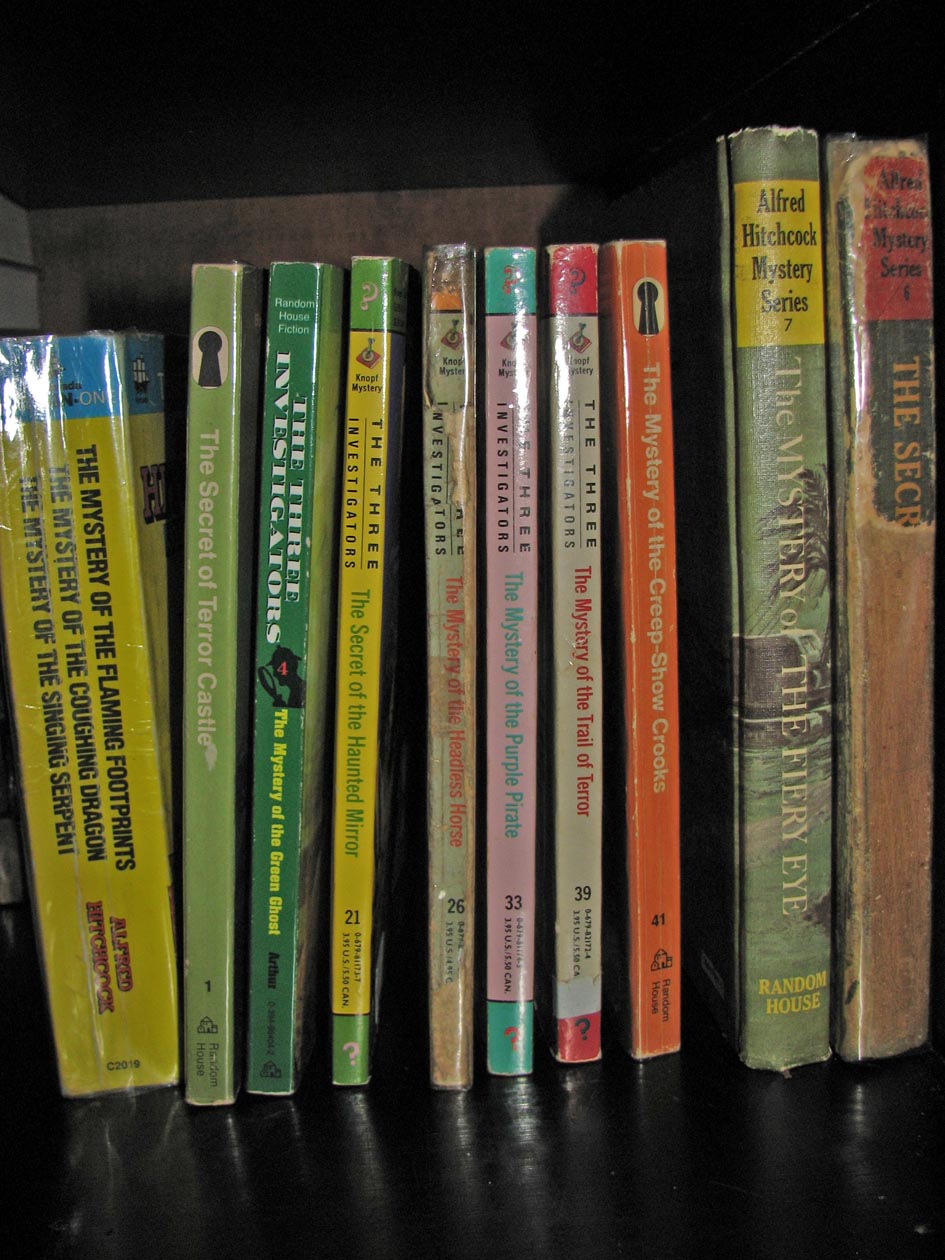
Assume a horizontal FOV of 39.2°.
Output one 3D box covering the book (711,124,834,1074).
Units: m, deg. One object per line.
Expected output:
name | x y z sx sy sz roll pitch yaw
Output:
book | 0.173 -0.008 0.753 0.058 0.532 0.031 -1 4 8

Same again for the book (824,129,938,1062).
book | 0.229 -0.010 0.748 0.057 0.521 0.034 -1 4 11

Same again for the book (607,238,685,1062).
book | 0.114 0.015 0.810 0.033 0.480 0.098 0 4 23

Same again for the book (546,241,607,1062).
book | 0.060 0.021 0.771 0.032 0.479 0.020 -1 4 0

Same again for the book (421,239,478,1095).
book | -0.011 0.027 0.756 0.036 0.483 0.013 -2 4 -2
